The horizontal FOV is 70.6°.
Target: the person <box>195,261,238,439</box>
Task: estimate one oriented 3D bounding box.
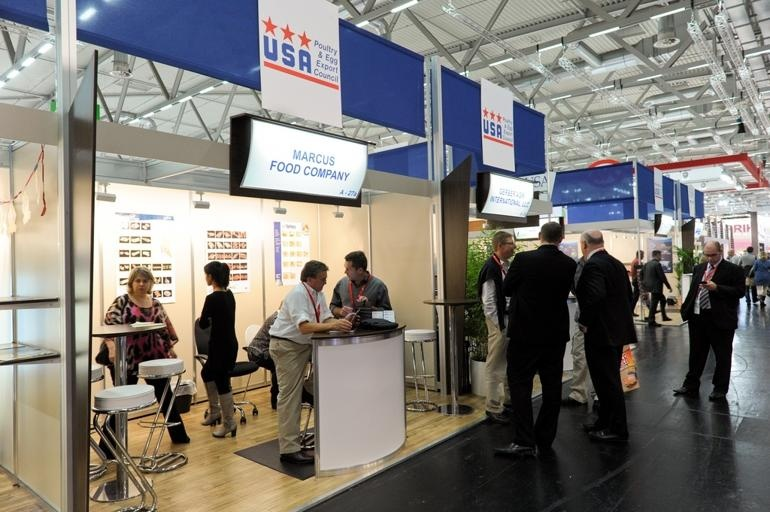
[{"bbox_3d":[-1.807,1.012,5.939,0.411,1.910,0.456,-5,10,-19],"label":"person"}]

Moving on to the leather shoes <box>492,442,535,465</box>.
[{"bbox_3d":[1.232,1.888,5.236,0.403,0.194,0.150,2,-4,14],"label":"leather shoes"}]

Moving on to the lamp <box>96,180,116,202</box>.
[{"bbox_3d":[-3.284,-0.768,6.390,0.131,0.238,0.248,-4,0,19],"label":"lamp"}]

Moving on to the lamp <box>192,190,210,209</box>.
[{"bbox_3d":[-2.392,-0.739,7.054,0.084,0.261,0.238,-9,-6,31],"label":"lamp"}]

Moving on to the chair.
[{"bbox_3d":[-1.997,1.380,6.616,0.837,1.310,0.858,-8,-2,-14],"label":"chair"}]

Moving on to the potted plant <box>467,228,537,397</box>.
[{"bbox_3d":[1.354,0.761,6.177,0.620,2.014,0.718,-3,-5,28],"label":"potted plant"}]

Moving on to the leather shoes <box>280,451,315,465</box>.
[{"bbox_3d":[-0.864,1.958,5.319,0.288,0.114,0.131,-1,-6,3],"label":"leather shoes"}]

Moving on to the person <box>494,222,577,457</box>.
[{"bbox_3d":[1.445,0.799,5.295,0.794,2.205,0.450,-5,10,-19],"label":"person"}]

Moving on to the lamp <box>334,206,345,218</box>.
[{"bbox_3d":[-0.681,-0.641,7.950,0.151,0.154,0.153,-3,-7,17],"label":"lamp"}]

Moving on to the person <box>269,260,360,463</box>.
[{"bbox_3d":[-0.761,1.032,5.279,0.670,1.924,0.544,-4,10,-13],"label":"person"}]

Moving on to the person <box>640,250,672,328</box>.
[{"bbox_3d":[5.939,0.684,11.904,0.586,1.732,1.362,3,10,28],"label":"person"}]

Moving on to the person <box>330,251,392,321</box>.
[{"bbox_3d":[-0.246,0.367,6.529,0.714,0.946,0.521,2,4,24],"label":"person"}]

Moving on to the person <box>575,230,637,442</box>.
[{"bbox_3d":[2.238,0.798,5.565,0.569,2.069,0.537,3,11,29],"label":"person"}]

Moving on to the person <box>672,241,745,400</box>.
[{"bbox_3d":[3.923,0.763,6.577,0.649,1.914,0.586,4,11,32],"label":"person"}]

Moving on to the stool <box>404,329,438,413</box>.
[{"bbox_3d":[0.453,1.359,6.839,0.379,0.938,1.010,-2,9,3],"label":"stool"}]
